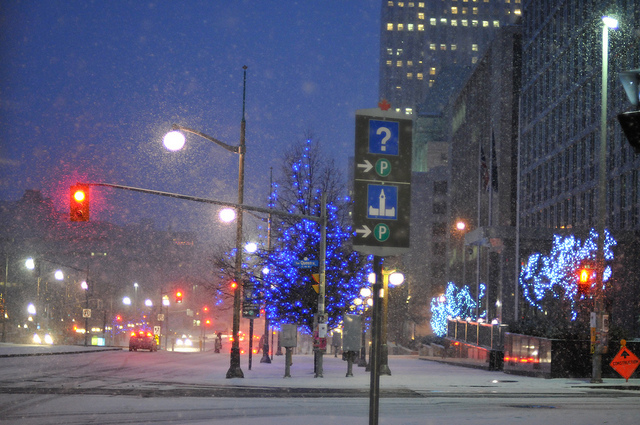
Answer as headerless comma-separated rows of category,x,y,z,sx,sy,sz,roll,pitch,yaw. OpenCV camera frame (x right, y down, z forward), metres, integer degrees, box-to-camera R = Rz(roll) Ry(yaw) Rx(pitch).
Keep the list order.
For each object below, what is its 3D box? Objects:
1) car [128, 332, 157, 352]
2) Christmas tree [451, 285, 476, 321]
car,-16.577,12.267,77.828,1.502,1.289,2.445,1,-4,3
Christmas tree,15.864,10.045,88.947,2.076,3.836,6.446,-2,-16,12
